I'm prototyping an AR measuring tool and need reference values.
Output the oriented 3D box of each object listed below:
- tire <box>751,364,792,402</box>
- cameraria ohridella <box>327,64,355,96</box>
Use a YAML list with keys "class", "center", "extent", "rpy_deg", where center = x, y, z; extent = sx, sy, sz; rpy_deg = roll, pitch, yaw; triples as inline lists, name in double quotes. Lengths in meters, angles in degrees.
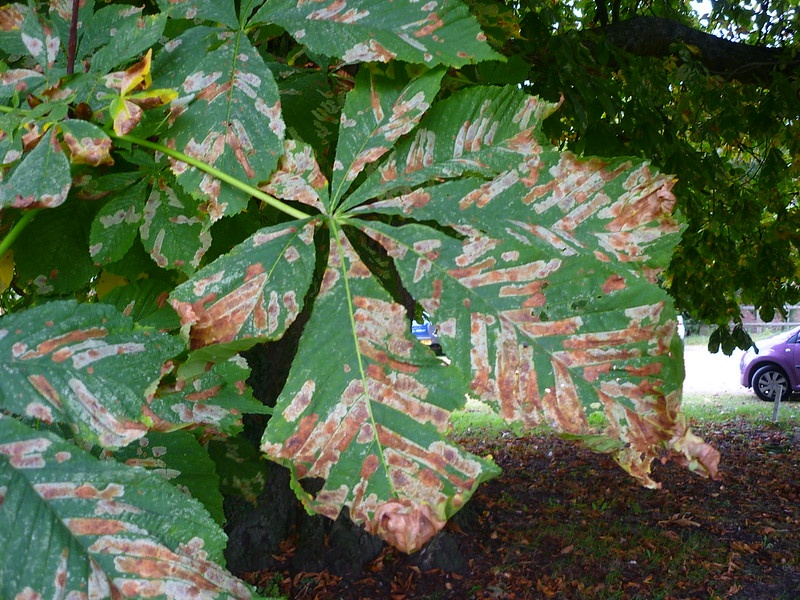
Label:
- class: "tire"
  center: [5.024, 1.075, 10.208]
  extent: [0.430, 0.523, 0.158]
  rpy_deg: [3, 20, 19]
- class: "cameraria ohridella"
  center: [-0.104, -0.376, 1.299]
  extent: [0.060, 0.070, 0.023]
  rpy_deg: [12, 17, 26]
